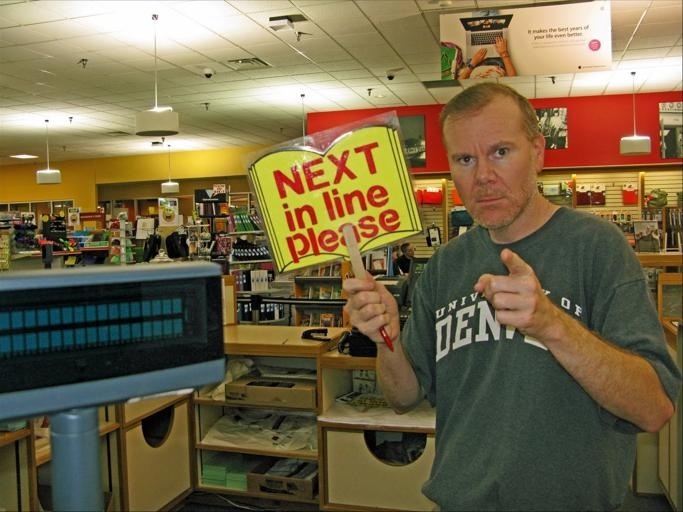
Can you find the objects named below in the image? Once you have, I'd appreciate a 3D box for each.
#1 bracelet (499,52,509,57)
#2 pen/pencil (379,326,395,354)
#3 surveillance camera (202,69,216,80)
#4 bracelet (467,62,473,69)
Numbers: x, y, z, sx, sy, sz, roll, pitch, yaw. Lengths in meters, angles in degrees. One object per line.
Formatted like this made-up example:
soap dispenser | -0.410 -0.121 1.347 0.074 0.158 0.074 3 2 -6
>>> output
bracelet | 1.616 -1.989 5.570 0.061 0.030 0.059 -1 7 -2
pen/pencil | 0.117 0.208 1.360 0.033 0.097 0.021 -8 42 15
surveillance camera | -1.986 -2.695 8.336 0.128 0.092 0.144 -1 -4 -1
bracelet | 1.294 -1.917 5.671 0.098 0.069 0.020 0 -2 -4
